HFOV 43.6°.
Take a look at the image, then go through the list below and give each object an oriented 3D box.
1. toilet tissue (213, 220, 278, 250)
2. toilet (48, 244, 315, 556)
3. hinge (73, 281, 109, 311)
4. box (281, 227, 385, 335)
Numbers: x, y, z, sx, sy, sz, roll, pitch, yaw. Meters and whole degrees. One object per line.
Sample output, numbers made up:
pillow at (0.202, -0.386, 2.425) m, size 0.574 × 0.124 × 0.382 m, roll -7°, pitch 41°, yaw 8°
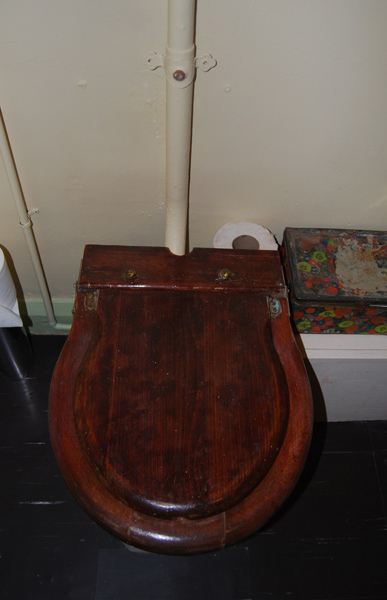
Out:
toilet tissue at (0.101, -0.140, 1.051) m, size 0.102 × 0.067 × 0.137 m, roll -1°, pitch 38°, yaw -5°
toilet at (-0.005, 0.174, 1.001) m, size 0.594 × 0.454 × 0.574 m, roll -3°, pitch 56°, yaw -8°
hinge at (-0.173, -0.006, 0.826) m, size 0.051 × 0.008 × 0.048 m, roll -1°, pitch 65°, yaw -3°
box at (0.278, -0.038, 0.968) m, size 0.173 × 0.124 × 0.186 m, roll -6°, pitch 48°, yaw -10°
